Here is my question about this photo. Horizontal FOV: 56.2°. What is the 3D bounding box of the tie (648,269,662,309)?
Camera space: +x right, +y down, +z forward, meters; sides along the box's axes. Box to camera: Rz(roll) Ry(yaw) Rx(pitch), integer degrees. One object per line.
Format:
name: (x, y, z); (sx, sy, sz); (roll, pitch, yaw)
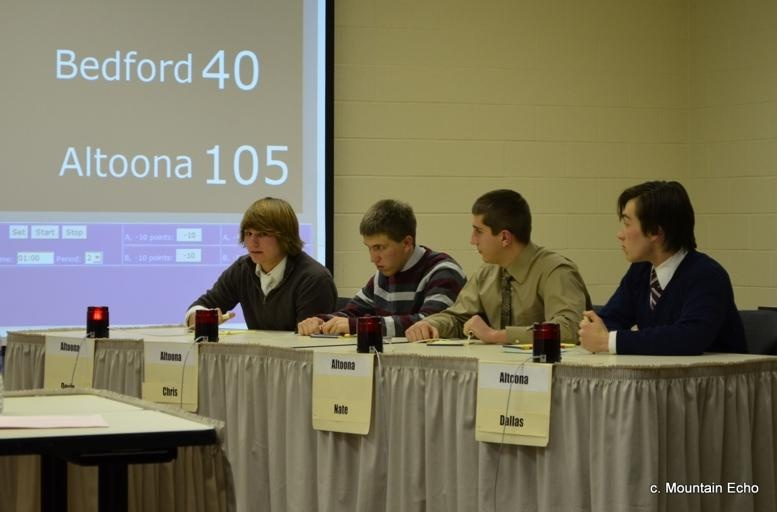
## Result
tie: (1.022, 0.132, 2.799); (0.026, 0.114, 0.080); (29, -41, -23)

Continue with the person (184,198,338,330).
person: (-0.547, 0.096, 3.755); (0.733, 0.923, 0.636); (-1, -3, 37)

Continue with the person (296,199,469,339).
person: (-0.025, 0.083, 3.504); (0.706, 0.575, 0.581); (3, -6, -33)

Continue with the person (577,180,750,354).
person: (1.035, 0.086, 2.848); (0.595, 0.678, 0.709); (0, -1, -2)

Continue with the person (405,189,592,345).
person: (0.488, 0.108, 3.121); (0.705, 0.562, 0.613); (3, -4, -18)
